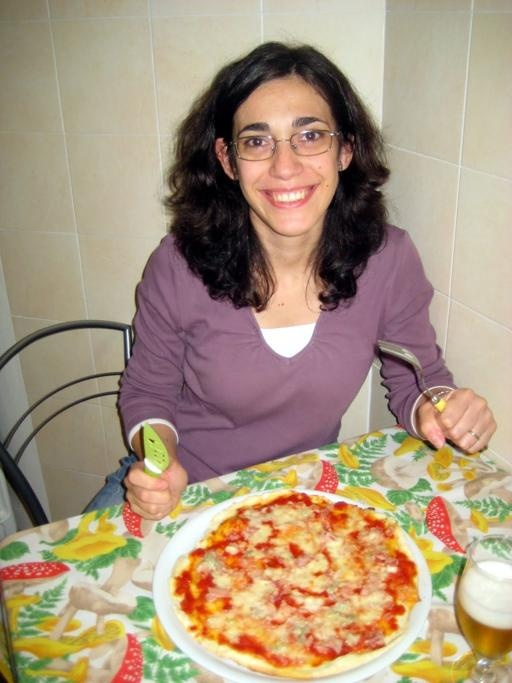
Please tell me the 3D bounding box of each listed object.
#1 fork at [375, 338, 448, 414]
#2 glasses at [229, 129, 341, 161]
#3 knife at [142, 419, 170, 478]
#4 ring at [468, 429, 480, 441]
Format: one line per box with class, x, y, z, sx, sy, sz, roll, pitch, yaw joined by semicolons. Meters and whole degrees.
fork;0.334;0.071;1.088;0.066;0.219;0.058;-49;33;-14
glasses;0.055;-0.388;1.053;0.190;0.062;0.058;1;22;1
knife;-0.156;0.164;0.823;0.026;0.108;0.039;16;45;29
ring;0.391;0.167;0.950;0.015;0.004;0.016;32;-3;2
